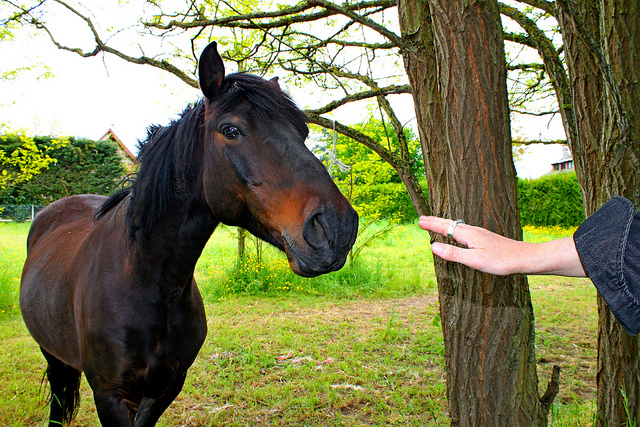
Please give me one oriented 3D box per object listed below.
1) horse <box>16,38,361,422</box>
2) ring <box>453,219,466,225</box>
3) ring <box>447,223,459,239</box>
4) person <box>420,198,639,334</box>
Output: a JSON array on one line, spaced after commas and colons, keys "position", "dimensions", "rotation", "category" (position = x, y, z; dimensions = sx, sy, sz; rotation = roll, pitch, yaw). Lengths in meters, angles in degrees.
[{"position": [-1.358, 0.218, 4.736], "dimensions": [3.511, 3.420, 1.471], "rotation": [1, 12, 10], "category": "horse"}, {"position": [1.114, 0.064, 4.026], "dimensions": [0.069, 0.063, 0.027], "rotation": [-17, -18, 29], "category": "ring"}, {"position": [1.049, 0.136, 3.977], "dimensions": [0.087, 0.120, 0.034], "rotation": [-9, 14, -31], "category": "ring"}, {"position": [1.551, 0.444, 4.021], "dimensions": [1.734, 0.628, 0.807], "rotation": [-3, 42, 11], "category": "person"}]
